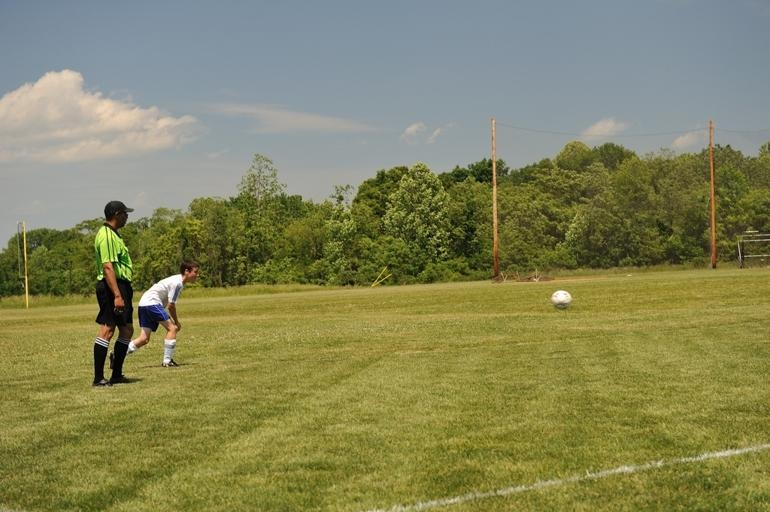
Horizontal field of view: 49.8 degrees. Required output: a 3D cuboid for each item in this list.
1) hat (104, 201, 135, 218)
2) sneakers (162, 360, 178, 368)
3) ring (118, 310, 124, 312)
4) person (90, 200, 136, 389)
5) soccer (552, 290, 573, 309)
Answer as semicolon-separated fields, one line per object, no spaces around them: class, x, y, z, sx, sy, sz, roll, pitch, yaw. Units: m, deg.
hat;-5.396;-0.922;16.518;0.423;0.352;0.532;-3;8;-16
sneakers;-4.872;2.424;18.646;0.165;0.192;0.438;2;-10;-7
ring;-5.266;1.087;16.420;0.054;0.038;0.053;1;-5;0
person;-5.540;0.757;16.688;0.934;3.756;1.253;-4;8;-20
soccer;5.920;1.496;27.587;0.662;0.624;0.616;-6;15;4
